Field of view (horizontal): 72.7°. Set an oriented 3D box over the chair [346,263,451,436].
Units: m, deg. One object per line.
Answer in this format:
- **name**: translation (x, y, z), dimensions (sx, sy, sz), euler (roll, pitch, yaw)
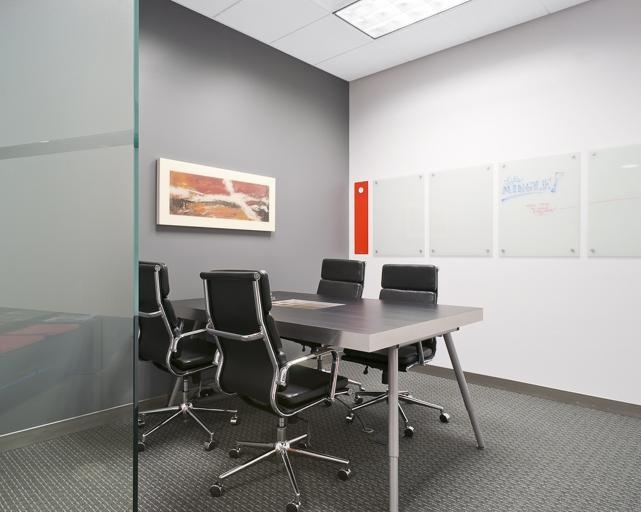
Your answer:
- **chair**: translation (0.520, 0.605, 3.185), dimensions (0.744, 1.097, 0.659), euler (-1, 1, -43)
